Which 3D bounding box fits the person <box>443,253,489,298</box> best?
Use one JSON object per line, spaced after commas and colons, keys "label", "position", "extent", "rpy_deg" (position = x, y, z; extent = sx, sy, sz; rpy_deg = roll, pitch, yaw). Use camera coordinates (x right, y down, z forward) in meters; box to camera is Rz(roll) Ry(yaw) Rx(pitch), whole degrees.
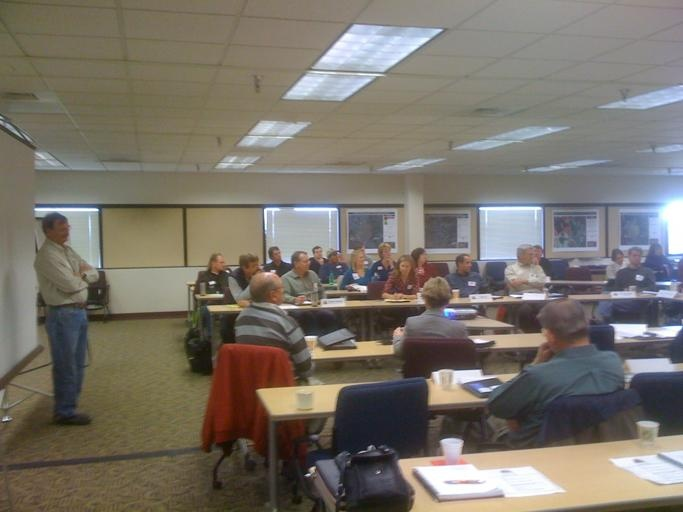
{"label": "person", "position": [1.807, 0.321, 8.060], "extent": [0.781, 0.673, 0.422], "rpy_deg": [1, 1, 3]}

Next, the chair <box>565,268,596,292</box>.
{"label": "chair", "position": [4.418, 0.438, 10.125], "extent": [0.497, 0.618, 0.524], "rpy_deg": [0, 0, 4]}

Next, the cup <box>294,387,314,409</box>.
{"label": "cup", "position": [-0.227, 0.851, 3.237], "extent": [0.103, 0.078, 0.094], "rpy_deg": [0, 3, -3]}

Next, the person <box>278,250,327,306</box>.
{"label": "person", "position": [-0.554, 0.338, 7.502], "extent": [0.536, 0.782, 0.734], "rpy_deg": [7, 8, 42]}

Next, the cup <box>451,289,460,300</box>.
{"label": "cup", "position": [1.507, 0.516, 7.171], "extent": [0.127, 0.136, 0.123], "rpy_deg": [0, 1, 0]}

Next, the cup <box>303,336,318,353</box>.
{"label": "cup", "position": [-0.243, 0.725, 4.509], "extent": [0.124, 0.133, 0.122], "rpy_deg": [0, 3, 0]}

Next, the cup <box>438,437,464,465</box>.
{"label": "cup", "position": [0.526, 0.935, 2.616], "extent": [0.097, 0.093, 0.135], "rpy_deg": [-1, -4, 2]}

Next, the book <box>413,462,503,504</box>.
{"label": "book", "position": [0.526, 1.034, 2.496], "extent": [0.363, 0.056, 0.234], "rpy_deg": [-2, 6, -5]}

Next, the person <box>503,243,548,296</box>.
{"label": "person", "position": [2.713, 0.262, 8.133], "extent": [0.651, 0.812, 0.470], "rpy_deg": [-3, 8, -20]}

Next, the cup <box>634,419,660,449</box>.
{"label": "cup", "position": [1.554, 0.923, 2.826], "extent": [0.122, 0.125, 0.129], "rpy_deg": [-1, 0, 0]}

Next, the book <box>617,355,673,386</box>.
{"label": "book", "position": [2.211, 0.801, 3.919], "extent": [0.409, 0.091, 0.372], "rpy_deg": [-1, 1, -1]}

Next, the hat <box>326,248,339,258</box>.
{"label": "hat", "position": [-0.158, -0.032, 9.550], "extent": [0.224, 0.145, 0.148], "rpy_deg": [-18, 9, -2]}

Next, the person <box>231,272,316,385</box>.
{"label": "person", "position": [-0.474, 0.536, 4.020], "extent": [0.579, 0.806, 0.444], "rpy_deg": [7, 17, 36]}

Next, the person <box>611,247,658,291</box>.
{"label": "person", "position": [4.526, 0.257, 8.492], "extent": [0.604, 0.787, 0.486], "rpy_deg": [2, 2, 9]}

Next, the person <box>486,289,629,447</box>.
{"label": "person", "position": [1.478, 0.783, 3.884], "extent": [1.119, 0.926, 0.589], "rpy_deg": [-5, 13, -9]}

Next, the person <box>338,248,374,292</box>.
{"label": "person", "position": [0.286, 0.256, 8.934], "extent": [0.763, 0.650, 0.412], "rpy_deg": [-12, 12, -26]}

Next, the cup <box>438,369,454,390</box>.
{"label": "cup", "position": [0.688, 0.811, 3.592], "extent": [0.117, 0.113, 0.096], "rpy_deg": [0, 2, 36]}
